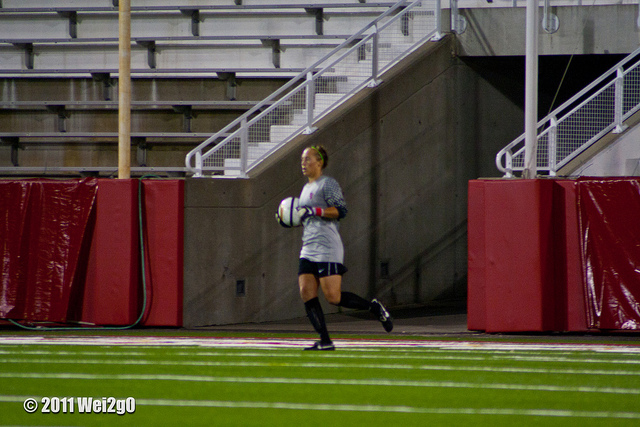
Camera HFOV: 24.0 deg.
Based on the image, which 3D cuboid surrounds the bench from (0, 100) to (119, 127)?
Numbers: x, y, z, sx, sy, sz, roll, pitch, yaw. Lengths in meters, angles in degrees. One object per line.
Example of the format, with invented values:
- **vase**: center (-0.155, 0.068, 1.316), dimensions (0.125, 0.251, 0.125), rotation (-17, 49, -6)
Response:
- **bench**: center (-5.634, -2.107, 32.440), dimensions (2.520, 0.533, 0.237), rotation (1, 8, 6)

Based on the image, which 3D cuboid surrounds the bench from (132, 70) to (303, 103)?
- **bench**: center (-1.863, -2.652, 32.408), dimensions (3.496, 0.716, 0.516), rotation (-1, -11, 3)

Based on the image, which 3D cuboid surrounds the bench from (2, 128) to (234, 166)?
- **bench**: center (-4.614, -1.304, 31.722), dimensions (4.590, 0.804, 1.555), rotation (2, 9, 7)

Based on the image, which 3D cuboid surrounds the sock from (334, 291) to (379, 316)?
- **sock**: center (0.584, 1.489, 25.339), dimensions (0.753, 0.436, 0.220), rotation (-4, 9, -25)

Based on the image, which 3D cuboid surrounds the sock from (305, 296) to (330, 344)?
- **sock**: center (-0.067, 1.724, 25.218), dimensions (0.410, 0.774, 0.354), rotation (0, 8, 0)
